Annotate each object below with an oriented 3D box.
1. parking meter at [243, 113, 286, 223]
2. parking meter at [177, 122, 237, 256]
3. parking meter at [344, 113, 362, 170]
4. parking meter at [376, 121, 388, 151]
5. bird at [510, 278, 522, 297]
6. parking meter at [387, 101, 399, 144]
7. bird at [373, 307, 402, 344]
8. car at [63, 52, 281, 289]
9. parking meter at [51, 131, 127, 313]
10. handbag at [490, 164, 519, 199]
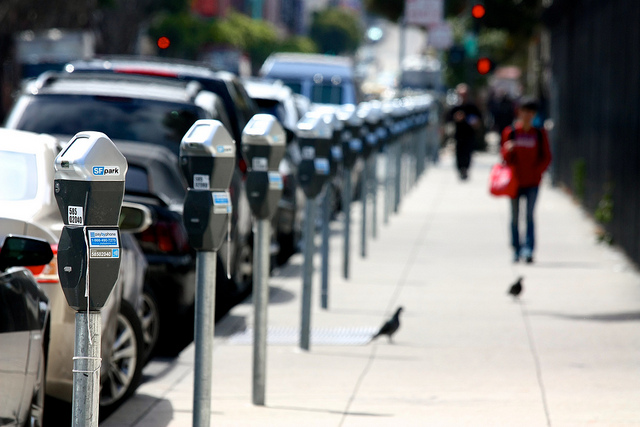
[{"bbox_3d":[-0.447,-0.352,8.615,0.321,0.809,0.256,-1,8,-4],"label":"parking meter"},{"bbox_3d":[-0.777,-0.166,7.561,0.382,0.899,0.291,-1,8,-7],"label":"parking meter"},{"bbox_3d":[0.323,-0.777,11.707,0.147,0.594,0.164,4,-19,10],"label":"parking meter"},{"bbox_3d":[0.785,-1.051,14.399,0.101,0.131,0.401,15,-12,8],"label":"parking meter"},{"bbox_3d":[2.001,0.745,11.401,0.106,0.168,0.102,1,8,9],"label":"bird"},{"bbox_3d":[1.078,-1.337,16.113,0.094,0.405,0.393,-1,37,12],"label":"parking meter"},{"bbox_3d":[0.590,1.009,9.888,0.200,0.316,0.336,6,11,38],"label":"bird"},{"bbox_3d":[-1.420,-0.715,12.233,1.552,1.651,2.904,6,14,23],"label":"car"},{"bbox_3d":[-1.348,0.053,6.476,0.418,1.025,0.237,-2,8,-12],"label":"parking meter"},{"bbox_3d":[2.164,-0.387,13.075,0.316,0.545,0.265,4,-20,9],"label":"handbag"}]
